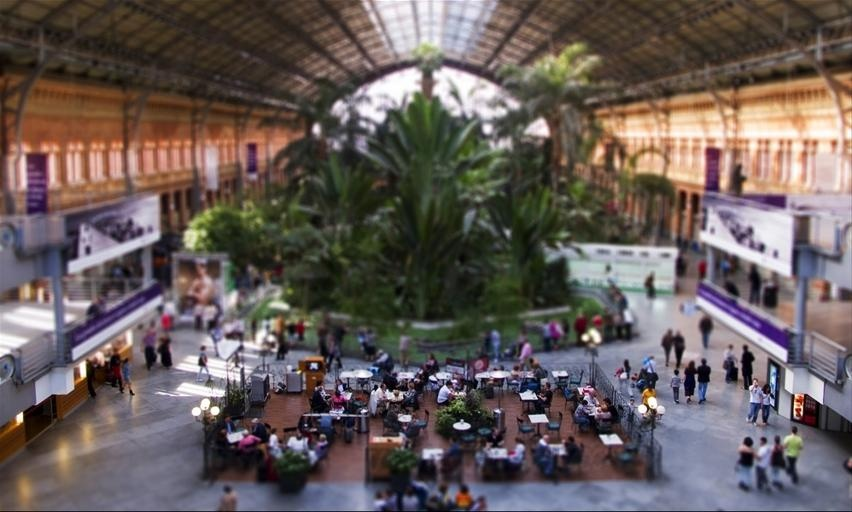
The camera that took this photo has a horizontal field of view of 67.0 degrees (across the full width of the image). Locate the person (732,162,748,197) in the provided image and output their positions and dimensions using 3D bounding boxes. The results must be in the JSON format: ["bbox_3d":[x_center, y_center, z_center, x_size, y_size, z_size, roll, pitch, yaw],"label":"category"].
[{"bbox_3d":[14.096,-3.558,28.960,0.382,1.324,0.720,-2,4,-26],"label":"person"}]
